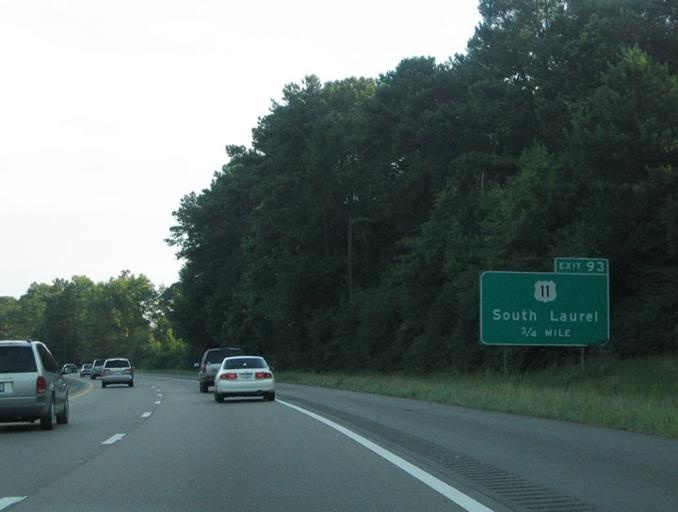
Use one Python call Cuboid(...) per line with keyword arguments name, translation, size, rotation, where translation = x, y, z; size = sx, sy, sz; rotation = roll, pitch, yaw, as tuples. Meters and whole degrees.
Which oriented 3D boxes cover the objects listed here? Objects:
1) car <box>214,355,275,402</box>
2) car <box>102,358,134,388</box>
Cuboid(name="car", translation=(-3.303, 4.357, 32.360), size=(1.328, 1.290, 3.485), rotation=(0, -3, -7))
Cuboid(name="car", translation=(-12.599, 6.703, 53.052), size=(1.187, 1.375, 2.525), rotation=(1, -1, -12))
